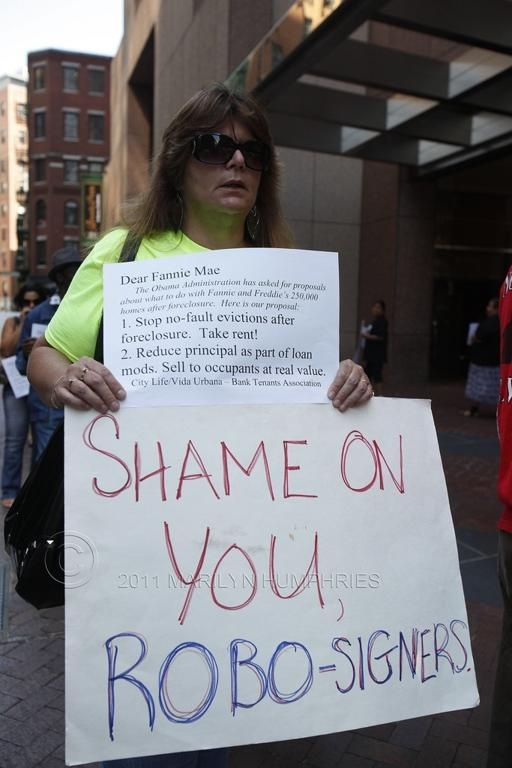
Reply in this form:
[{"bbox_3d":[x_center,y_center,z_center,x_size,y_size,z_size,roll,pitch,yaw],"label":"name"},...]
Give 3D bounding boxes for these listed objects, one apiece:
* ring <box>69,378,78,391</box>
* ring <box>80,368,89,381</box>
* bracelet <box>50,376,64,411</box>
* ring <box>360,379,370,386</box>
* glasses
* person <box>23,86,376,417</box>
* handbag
[{"bbox_3d":[-0.392,-0.001,1.591,0.016,0.017,0.020,4,-21,-11],"label":"ring"},{"bbox_3d":[-0.371,-0.021,1.599,0.018,0.025,0.025,22,54,5],"label":"ring"},{"bbox_3d":[-0.435,0.025,1.616,0.027,0.063,0.047,5,2,-33],"label":"bracelet"},{"bbox_3d":[0.260,-0.004,1.781,0.016,0.019,0.044,5,7,19],"label":"ring"},{"bbox_3d":[-0.052,-0.573,1.846,0.214,0.085,0.077,-3,9,-38],"label":"glasses"},{"bbox_3d":[-0.126,-0.340,1.904,0.914,0.821,0.509,0,3,-16],"label":"person"},{"bbox_3d":[-0.504,0.306,1.691,0.124,0.425,0.235,0,8,-19],"label":"handbag"}]
